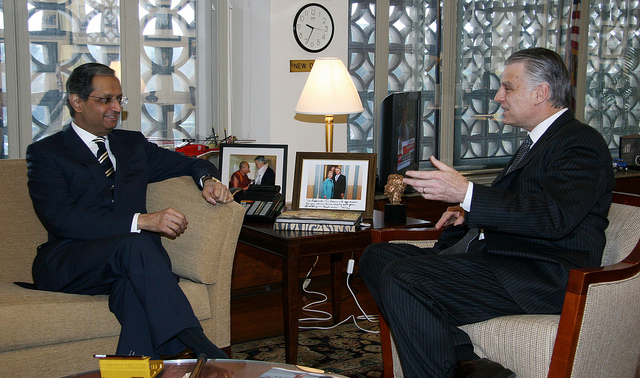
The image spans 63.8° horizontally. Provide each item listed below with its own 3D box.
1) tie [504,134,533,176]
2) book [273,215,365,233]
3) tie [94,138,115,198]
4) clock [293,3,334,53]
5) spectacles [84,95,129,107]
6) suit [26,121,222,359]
[{"bbox_3d":[1.198,-0.219,3.046,0.032,0.305,0.095,29,-5,37],"label":"tie"},{"bbox_3d":[-0.019,0.248,3.442,0.589,0.079,0.127,0,6,-2],"label":"book"},{"bbox_3d":[-1.399,-0.121,3.319,0.075,0.379,0.098,-21,-3,23],"label":"tie"},{"bbox_3d":[-0.063,-1.477,4.703,0.403,0.438,0.033,-4,7,-29],"label":"clock"},{"bbox_3d":[-1.386,-0.572,3.345,0.260,0.071,0.113,-4,8,-33],"label":"spectacles"},{"bbox_3d":[-1.160,0.288,3.351,1.022,1.401,1.304,0,-1,43],"label":"suit"}]
